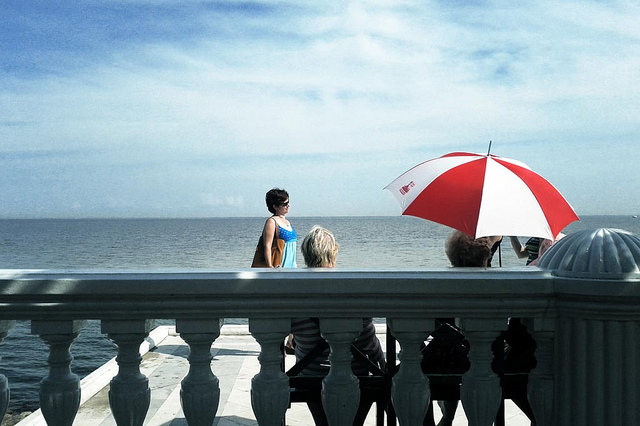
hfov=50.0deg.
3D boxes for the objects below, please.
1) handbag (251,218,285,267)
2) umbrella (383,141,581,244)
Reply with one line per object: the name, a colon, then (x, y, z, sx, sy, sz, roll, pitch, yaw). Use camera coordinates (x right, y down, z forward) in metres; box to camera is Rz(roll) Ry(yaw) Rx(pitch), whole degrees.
handbag: (-0.628, 0.331, 7.810, 0.259, 0.540, 0.411, 7, -6, -42)
umbrella: (1.413, -0.123, 5.785, 1.340, 0.572, 1.223, 4, 17, -7)
